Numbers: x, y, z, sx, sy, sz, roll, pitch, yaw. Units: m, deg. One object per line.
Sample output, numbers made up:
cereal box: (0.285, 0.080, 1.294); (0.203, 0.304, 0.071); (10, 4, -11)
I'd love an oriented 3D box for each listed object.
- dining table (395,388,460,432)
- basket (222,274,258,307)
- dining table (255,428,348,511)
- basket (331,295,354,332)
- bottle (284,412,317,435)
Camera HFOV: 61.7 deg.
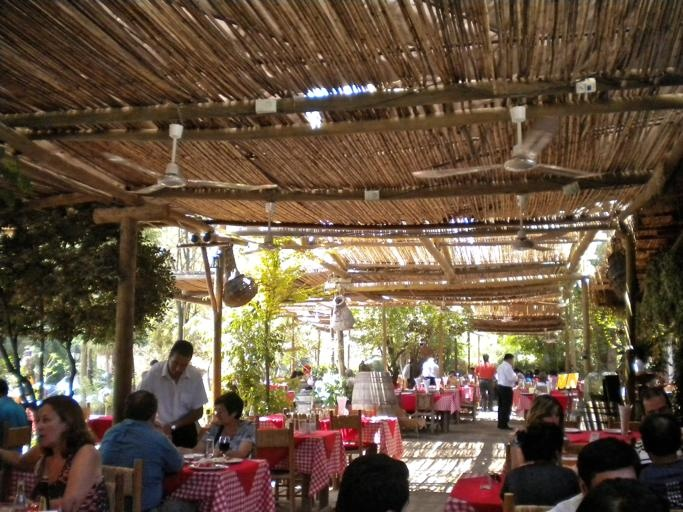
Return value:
dining table: (2.018, 3.558, 13.293); (1.362, 0.591, 1.393); (-3, -7, 15)
basket: (-1.656, 0.530, 9.191); (0.582, 0.565, 0.337); (-9, -14, 24)
dining table: (-0.393, 2.214, 6.168); (1.101, 0.839, 1.140); (-6, -24, 16)
basket: (0.010, 1.293, 13.153); (0.493, 0.803, 0.464); (-2, -13, -3)
bottle: (-0.527, 1.944, 6.682); (0.489, 0.184, 0.437); (-6, -9, 43)
